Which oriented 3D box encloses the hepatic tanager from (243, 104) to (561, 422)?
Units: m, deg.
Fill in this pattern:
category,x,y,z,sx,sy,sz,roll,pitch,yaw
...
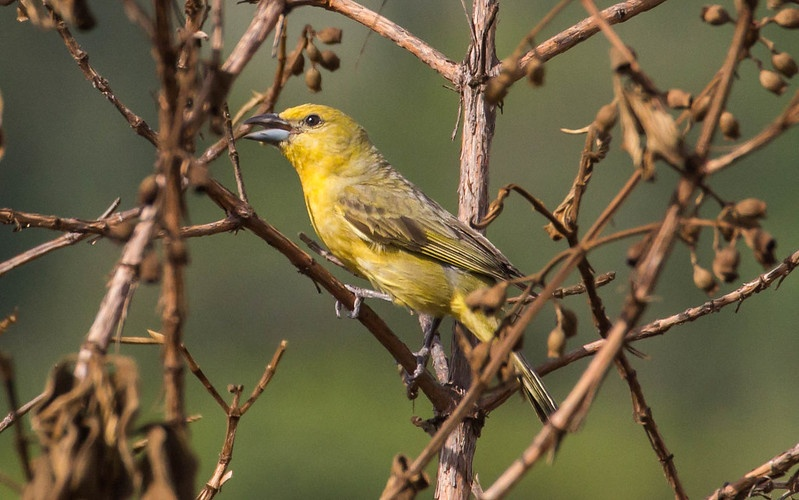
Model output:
category,x,y,z,sx,sy,sz,roll,pitch,yaw
hepatic tanager,0.122,-0.027,5.354,2.244,0.766,1.482,9,-92,2
